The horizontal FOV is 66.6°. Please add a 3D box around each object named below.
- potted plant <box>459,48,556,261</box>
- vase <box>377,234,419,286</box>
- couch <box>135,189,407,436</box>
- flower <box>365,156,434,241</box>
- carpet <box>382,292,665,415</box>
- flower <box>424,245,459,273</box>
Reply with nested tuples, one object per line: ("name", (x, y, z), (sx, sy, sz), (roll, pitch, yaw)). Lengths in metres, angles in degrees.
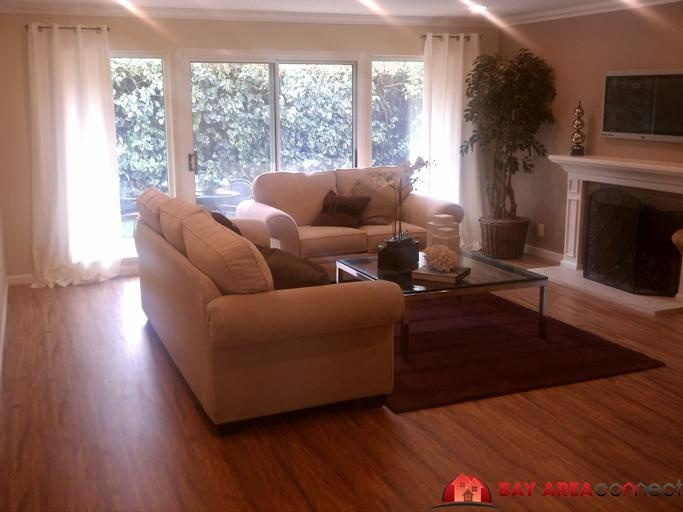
("potted plant", (2.052, -1.264, 6.499), (1.068, 2.500, 0.861), (6, 15, 23))
("vase", (0.458, 0.045, 4.198), (0.331, 0.300, 0.168), (-11, 15, -41))
("couch", (-0.702, 0.137, 3.902), (1.255, 1.205, 2.381), (-5, 15, -28))
("flower", (0.614, -0.591, 5.640), (0.985, 1.065, 0.466), (0, 19, -4))
("carpet", (1.115, 0.631, 4.183), (2.004, 0.120, 1.761), (-6, 16, -19))
("flower", (0.786, 0.033, 4.190), (0.174, 0.112, 0.254), (-13, 15, -17))
